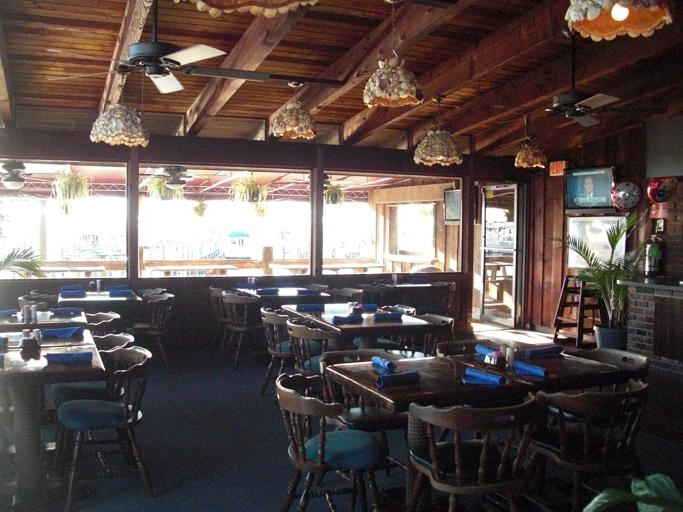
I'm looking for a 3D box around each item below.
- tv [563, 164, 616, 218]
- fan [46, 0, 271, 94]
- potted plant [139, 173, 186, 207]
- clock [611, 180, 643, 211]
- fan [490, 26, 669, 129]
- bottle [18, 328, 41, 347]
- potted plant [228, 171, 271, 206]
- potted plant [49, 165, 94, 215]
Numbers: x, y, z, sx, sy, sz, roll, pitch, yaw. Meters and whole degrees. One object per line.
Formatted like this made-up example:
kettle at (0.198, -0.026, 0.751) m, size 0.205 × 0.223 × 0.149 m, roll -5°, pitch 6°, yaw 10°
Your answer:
tv at (3.854, -1.010, 8.224) m, size 0.177 × 0.777 × 0.945 m, roll 3°, pitch 1°, yaw -29°
fan at (-1.363, -1.533, 4.253) m, size 1.384 × 0.483 × 1.359 m, roll 0°, pitch 1°, yaw 28°
potted plant at (-3.259, -1.211, 9.884) m, size 0.939 × 0.470 × 0.921 m, roll 0°, pitch -2°, yaw 31°
clock at (4.135, -0.868, 7.775) m, size 0.241 × 0.431 × 0.403 m, roll -1°, pitch 1°, yaw -21°
fan at (2.858, -2.081, 6.302) m, size 1.675 × 0.600 × 1.555 m, roll 3°, pitch -7°, yaw -12°
bottle at (-2.415, 0.616, 4.147) m, size 0.200 × 0.094 × 0.286 m, roll 1°, pitch -4°, yaw -32°
potted plant at (-1.581, -1.165, 9.908) m, size 0.876 × 0.652 × 0.819 m, roll 1°, pitch 1°, yaw -23°
potted plant at (-4.449, -1.120, 8.723) m, size 0.413 × 0.889 × 1.745 m, roll -1°, pitch 1°, yaw -29°
